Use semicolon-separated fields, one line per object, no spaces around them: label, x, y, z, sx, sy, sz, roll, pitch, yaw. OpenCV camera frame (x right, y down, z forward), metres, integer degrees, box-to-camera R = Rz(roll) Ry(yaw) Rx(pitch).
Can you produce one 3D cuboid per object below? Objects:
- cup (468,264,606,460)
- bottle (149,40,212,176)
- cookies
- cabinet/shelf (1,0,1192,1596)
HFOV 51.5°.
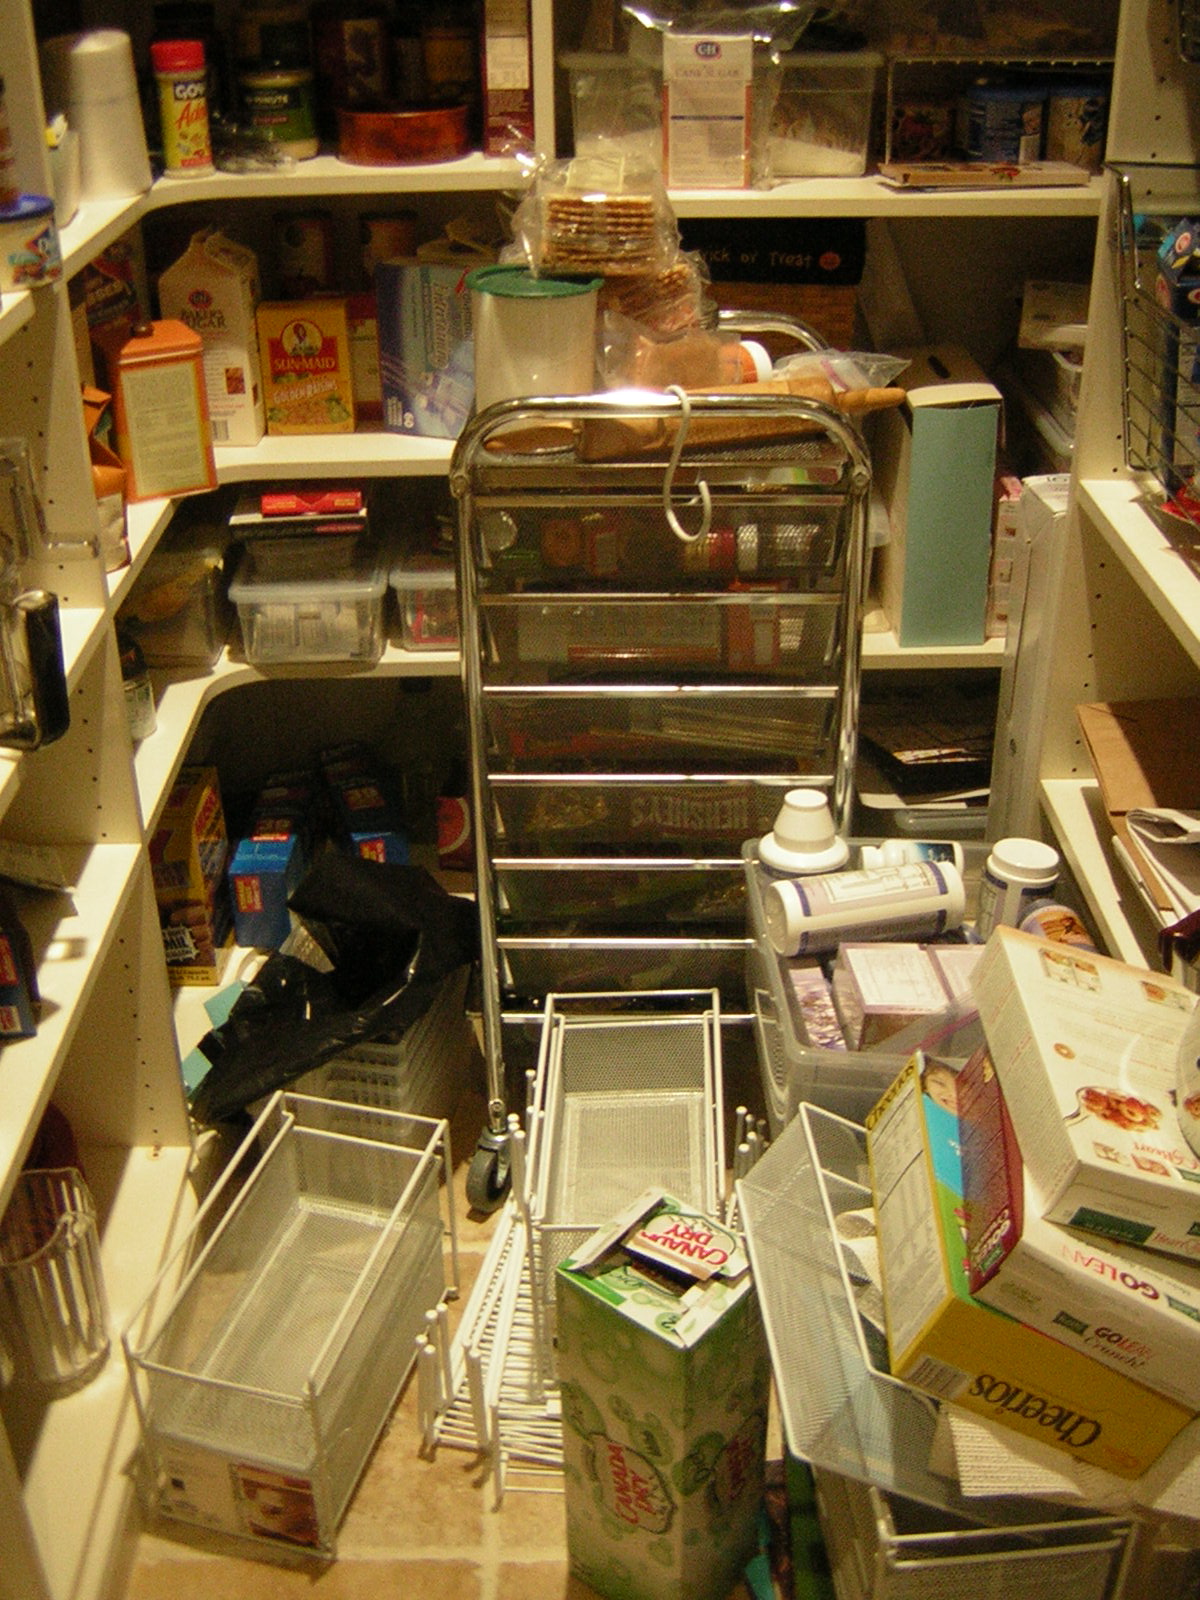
cup;-0.075;-0.509;1.463;0.155;0.195;0.275;-3;27;0
bottle;-0.540;-0.894;1.618;0.076;0.150;0.165;-11;28;-14
cookies;0.015;-0.649;1.525;0.203;0.070;0.140;3;41;-1
cabinet/shelf;0.028;0.099;1.938;1.634;3.043;3.179;0;52;-1
